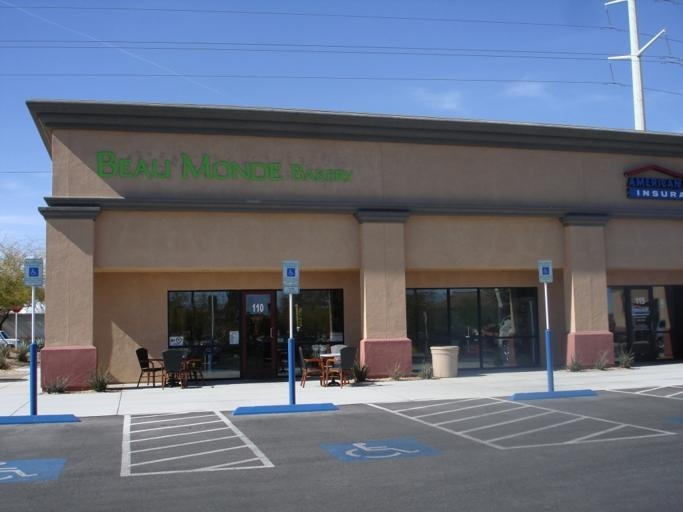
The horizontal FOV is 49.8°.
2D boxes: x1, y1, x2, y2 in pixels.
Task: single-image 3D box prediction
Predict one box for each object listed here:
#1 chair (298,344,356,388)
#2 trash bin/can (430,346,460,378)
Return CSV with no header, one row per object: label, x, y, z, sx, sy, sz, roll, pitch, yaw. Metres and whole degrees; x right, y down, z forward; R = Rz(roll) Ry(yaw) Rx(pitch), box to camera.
chair,-0.194,3.234,21.991,1.037,1.307,1.730,4,-5,-34
trash bin/can,3.270,3.339,23.393,0.853,0.830,0.848,-1,-11,10
